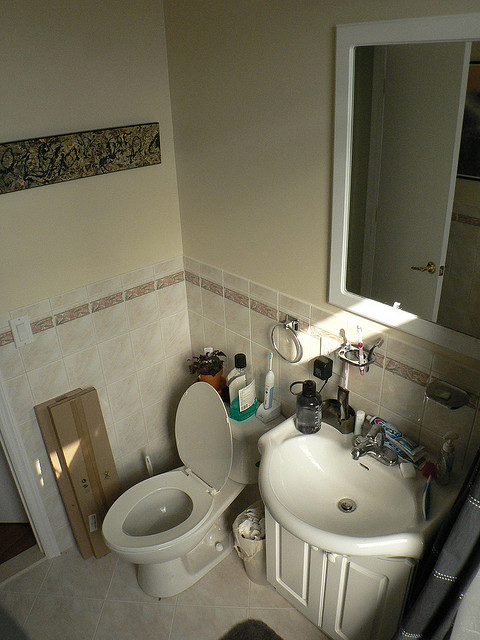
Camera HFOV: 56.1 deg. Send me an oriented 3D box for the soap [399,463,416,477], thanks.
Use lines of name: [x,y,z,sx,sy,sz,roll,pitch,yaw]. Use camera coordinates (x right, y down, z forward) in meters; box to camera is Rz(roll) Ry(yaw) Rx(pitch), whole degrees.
soap: [0.531,0.474,1.427,0.032,0.008,0.031,-11,43,10]

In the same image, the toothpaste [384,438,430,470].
toothpaste: [0.549,0.438,1.475,0.065,0.018,0.117,-33,60,-26]

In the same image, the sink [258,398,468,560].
sink: [0.351,0.551,1.475,0.511,0.190,0.719,-23,20,-28]

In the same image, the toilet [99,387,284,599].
toilet: [-0.223,0.759,2.044,0.810,0.889,0.414,-17,26,-31]

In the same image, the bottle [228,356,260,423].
bottle: [0.015,0.290,2.038,0.100,0.319,0.173,18,41,30]

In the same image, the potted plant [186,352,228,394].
potted plant: [-0.120,0.257,2.239,0.119,0.158,0.121,16,30,38]

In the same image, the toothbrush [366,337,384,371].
toothbrush: [0.433,0.090,1.450,0.050,0.072,0.040,-13,24,-23]

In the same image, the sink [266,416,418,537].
sink: [0.310,0.531,1.511,0.543,0.136,0.400,8,25,25]

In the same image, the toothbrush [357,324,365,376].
toothbrush: [0.391,0.087,1.457,0.022,0.203,0.036,3,6,25]

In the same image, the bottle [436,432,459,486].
bottle: [0.607,0.415,1.334,0.036,0.199,0.046,5,23,20]

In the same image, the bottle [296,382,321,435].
bottle: [0.256,0.319,1.678,0.096,0.183,0.095,-2,18,1]

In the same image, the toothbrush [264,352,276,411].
toothbrush: [0.130,0.264,1.968,0.053,0.261,0.091,-2,22,3]

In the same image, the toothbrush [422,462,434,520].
toothbrush: [0.561,0.509,1.353,0.035,0.018,0.209,11,35,20]

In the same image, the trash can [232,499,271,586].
trash can: [0.064,0.970,2.027,0.180,0.354,0.173,-15,33,-30]
